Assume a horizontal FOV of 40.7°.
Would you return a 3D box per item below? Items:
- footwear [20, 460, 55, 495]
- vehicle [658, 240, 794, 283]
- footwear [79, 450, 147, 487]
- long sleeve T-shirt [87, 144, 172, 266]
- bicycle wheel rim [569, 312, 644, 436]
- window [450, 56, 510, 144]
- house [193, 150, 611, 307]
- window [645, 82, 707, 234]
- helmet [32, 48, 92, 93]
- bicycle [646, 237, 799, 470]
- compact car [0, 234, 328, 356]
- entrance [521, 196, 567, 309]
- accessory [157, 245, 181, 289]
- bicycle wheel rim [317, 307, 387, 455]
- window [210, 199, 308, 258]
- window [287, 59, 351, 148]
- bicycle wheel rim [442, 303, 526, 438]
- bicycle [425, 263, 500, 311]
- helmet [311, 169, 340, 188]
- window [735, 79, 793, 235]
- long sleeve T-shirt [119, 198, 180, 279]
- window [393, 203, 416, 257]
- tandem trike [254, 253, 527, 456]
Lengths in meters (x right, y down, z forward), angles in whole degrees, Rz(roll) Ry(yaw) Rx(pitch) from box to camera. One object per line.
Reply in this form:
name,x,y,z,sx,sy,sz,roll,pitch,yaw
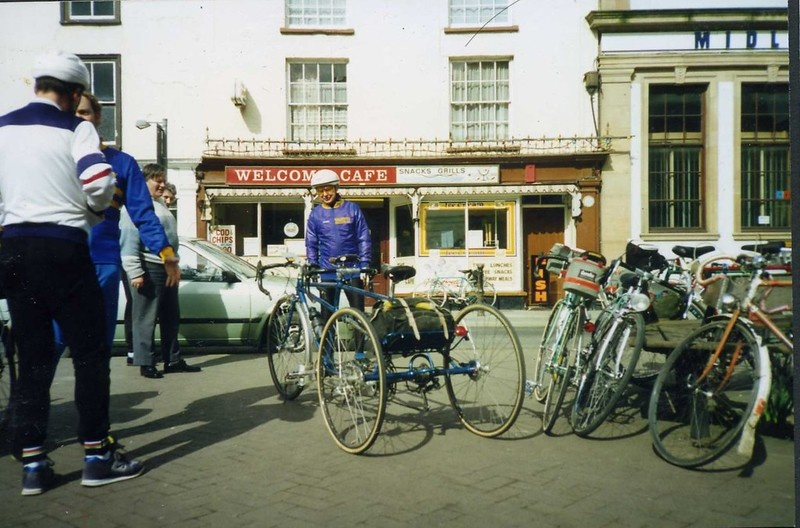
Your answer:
footwear,-3.150,1.835,9.378,0.284,0.291,0.172,1,2,-26
vehicle,3.174,-0.027,10.611,0.740,0.449,0.383,2,1,10
footwear,-2.552,1.793,9.461,0.622,0.293,0.223,4,-2,-30
long sleeve T-shirt,-2.656,-0.520,10.488,1.365,1.075,0.592,1,1,36
bicycle wheel rim,1.919,1.028,10.119,0.636,1.159,0.401,2,2,11
window,1.012,-2.225,14.440,0.879,1.084,0.130,-2,40,0
house,0.664,-0.601,20.952,8.010,2.866,2.405,-1,7,36
window,2.970,-1.170,11.712,0.602,1.623,0.820,2,2,12
helmet,-2.963,-1.691,9.423,0.349,0.230,0.348,4,8,-10
bicycle,2.885,0.829,9.745,1.204,1.970,0.705,2,2,20
compact car,-2.958,0.366,13.421,2.997,1.028,1.315,-1,1,-9
entrance,2.644,-0.154,20.249,0.816,2.005,0.234,-2,-19,11
accessory,-2.159,0.025,10.197,0.127,0.346,0.257,-12,27,-33
bicycle wheel rim,-0.499,1.096,10.271,0.381,1.389,1.395,-1,4,-30
window,-2.666,-0.731,20.394,2.002,1.215,0.125,0,2,-27
window,-1.229,-2.391,15.854,1.156,1.442,0.162,-4,46,-8
bicycle wheel rim,0.783,1.006,10.294,0.802,1.256,0.428,2,2,14
bicycle,1.006,0.405,17.772,1.254,0.790,0.625,2,2,1
helmet,-0.822,-0.913,11.574,0.260,0.195,0.382,2,2,-1
window,3.714,-1.121,11.085,0.470,1.545,0.867,2,2,15
long sleeve T-shirt,-2.619,-0.242,11.108,0.507,0.849,0.856,-2,3,5
window,0.050,-0.611,20.544,0.499,1.135,0.031,-5,-6,32
tandem trike,-0.174,0.769,10.691,1.449,1.195,2.588,0,8,-32
